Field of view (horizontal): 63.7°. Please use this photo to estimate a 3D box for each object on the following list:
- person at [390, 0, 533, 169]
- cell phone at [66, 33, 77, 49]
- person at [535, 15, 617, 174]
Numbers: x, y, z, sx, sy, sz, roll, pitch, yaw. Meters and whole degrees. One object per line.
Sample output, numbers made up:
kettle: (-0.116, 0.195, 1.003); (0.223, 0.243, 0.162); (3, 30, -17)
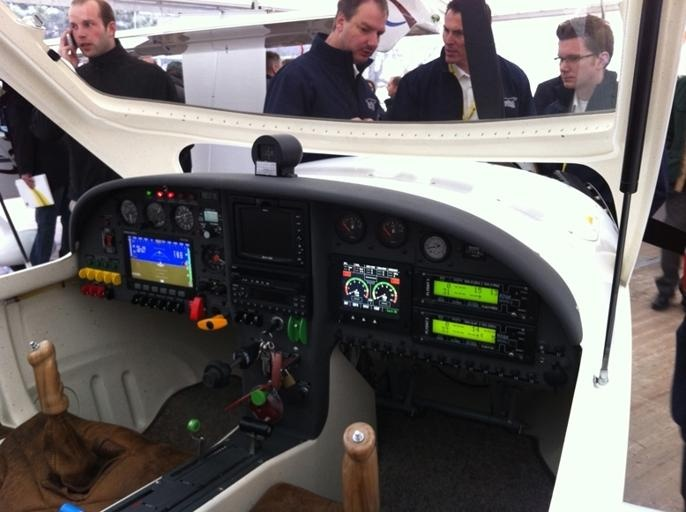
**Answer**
person: (0.688, -1.144, 3.300); (0.870, 0.675, 0.345); (11, 20, 32)
cell phone: (-1.785, -1.403, 3.628); (0.023, 0.086, 0.085); (-16, 16, -38)
person: (1.223, -0.963, 2.847); (0.320, 0.506, 0.759); (3, 18, 11)
